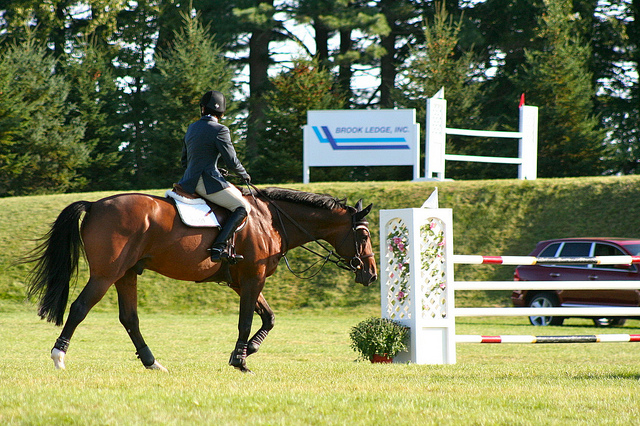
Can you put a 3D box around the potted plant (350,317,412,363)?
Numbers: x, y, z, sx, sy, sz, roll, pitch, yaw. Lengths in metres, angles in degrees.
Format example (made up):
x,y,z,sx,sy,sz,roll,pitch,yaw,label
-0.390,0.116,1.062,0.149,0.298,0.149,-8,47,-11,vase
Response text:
x,y,z,sx,sy,sz,roll,pitch,yaw,label
2.320,4.601,54.269,2.023,1.315,1.768,1,-12,-12,potted plant
